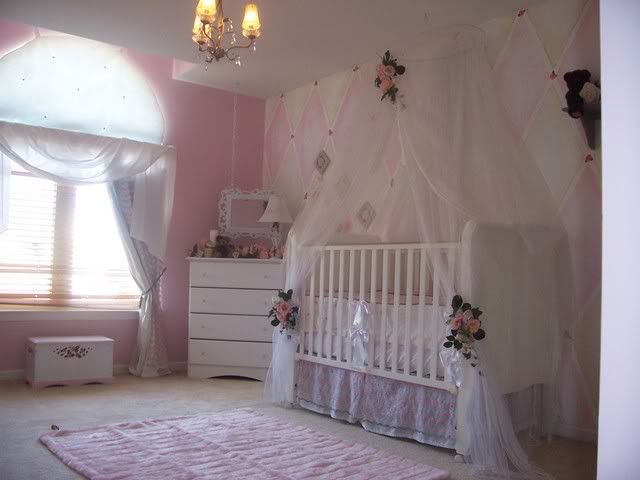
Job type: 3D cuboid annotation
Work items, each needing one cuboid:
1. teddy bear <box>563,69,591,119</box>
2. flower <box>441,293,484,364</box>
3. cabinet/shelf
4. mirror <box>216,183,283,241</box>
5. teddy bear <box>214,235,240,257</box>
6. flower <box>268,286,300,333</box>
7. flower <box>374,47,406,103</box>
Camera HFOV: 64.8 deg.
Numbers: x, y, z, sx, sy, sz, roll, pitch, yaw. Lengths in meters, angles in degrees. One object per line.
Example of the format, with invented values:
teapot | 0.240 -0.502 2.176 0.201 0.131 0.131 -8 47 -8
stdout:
teddy bear | 1.548 -0.877 3.050 0.110 0.263 0.238 2 -3 -8
flower | 0.794 0.493 2.775 0.217 0.372 0.172 0 -4 28
cabinet/shelf | -0.752 0.738 4.649 0.952 1.282 0.577 0 -6 3
mirror | -0.748 -0.268 5.316 0.524 0.499 0.040 1 -1 -3
teddy bear | -0.925 0.073 4.988 0.249 0.221 0.195 2 -3 -12
flower | -0.269 0.556 3.925 0.259 0.283 0.125 24 4 26
flower | 0.474 -1.052 3.239 0.134 0.324 0.246 3 -3 -35
